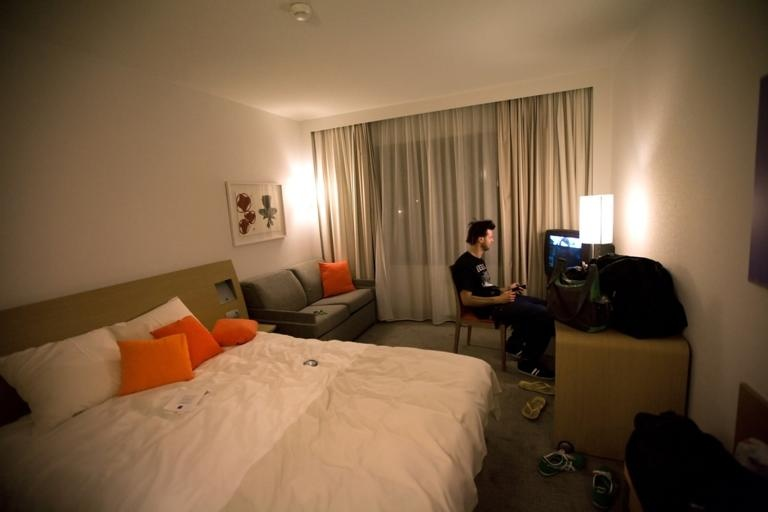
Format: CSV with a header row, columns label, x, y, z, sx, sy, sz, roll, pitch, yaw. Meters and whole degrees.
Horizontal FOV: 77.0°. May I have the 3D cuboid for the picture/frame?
label,x,y,z,sx,sy,sz,roll,pitch,yaw
picture/frame,-1.306,-0.462,5.073,0.767,0.600,0.057,-2,5,30

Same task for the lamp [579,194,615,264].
label,x,y,z,sx,sy,sz,roll,pitch,yaw
lamp,1.889,-0.238,4.257,0.268,0.594,0.360,1,10,25

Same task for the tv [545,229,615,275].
label,x,y,z,sx,sy,sz,roll,pitch,yaw
tv,1.921,0.013,4.767,0.352,0.561,0.645,0,6,-23

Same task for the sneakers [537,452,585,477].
label,x,y,z,sx,sy,sz,roll,pitch,yaw
sneakers,1.198,1.393,3.257,0.270,0.120,0.135,-10,28,9

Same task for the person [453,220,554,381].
label,x,y,z,sx,sy,sz,roll,pitch,yaw
person,1.157,0.392,4.457,0.899,1.388,0.611,1,15,26

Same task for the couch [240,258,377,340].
label,x,y,z,sx,sy,sz,roll,pitch,yaw
couch,-0.703,0.543,5.273,0.767,0.842,1.431,-3,9,24

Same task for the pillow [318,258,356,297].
label,x,y,z,sx,sy,sz,roll,pitch,yaw
pillow,-0.540,0.262,5.609,0.385,0.371,0.143,-6,-10,-36

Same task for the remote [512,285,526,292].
label,x,y,z,sx,sy,sz,roll,pitch,yaw
remote,1.243,0.296,4.397,0.098,0.026,0.106,-3,6,34

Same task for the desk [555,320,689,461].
label,x,y,z,sx,sy,sz,roll,pitch,yaw
desk,1.619,0.824,3.583,1.015,1.038,0.771,-1,-3,23

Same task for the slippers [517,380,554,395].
label,x,y,z,sx,sy,sz,roll,pitch,yaw
slippers,1.284,1.095,4.044,0.221,0.040,0.112,2,14,43

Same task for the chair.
label,x,y,z,sx,sy,sz,roll,pitch,yaw
chair,0.994,0.531,4.597,0.591,0.895,0.604,-14,11,-36
